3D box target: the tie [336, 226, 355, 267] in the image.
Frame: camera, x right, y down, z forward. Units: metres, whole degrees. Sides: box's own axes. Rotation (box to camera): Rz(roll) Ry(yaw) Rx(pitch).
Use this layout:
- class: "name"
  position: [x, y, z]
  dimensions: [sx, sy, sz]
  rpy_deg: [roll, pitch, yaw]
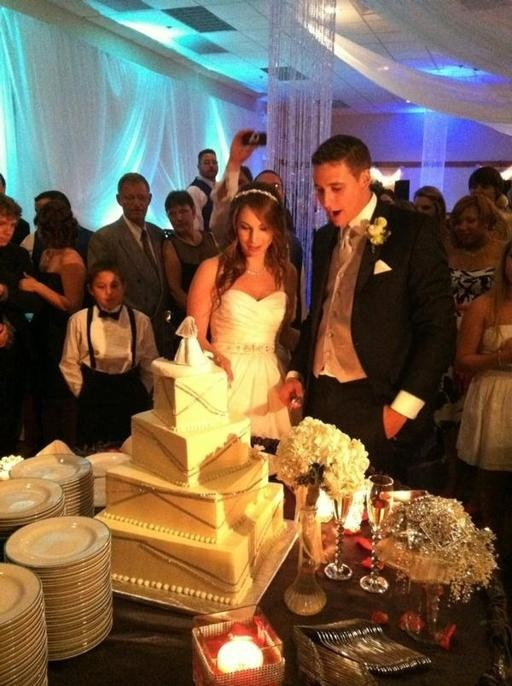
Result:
- class: "tie"
  position: [0.366, -0.422, 2.485]
  dimensions: [0.039, 0.133, 0.098]
  rpy_deg: [10, 36, 19]

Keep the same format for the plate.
- class: "plate"
  position: [-0.474, 0.511, 1.420]
  dimensions: [0.165, 0.165, 0.590]
  rpy_deg: [-1, 2, -15]

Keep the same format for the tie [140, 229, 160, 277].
- class: "tie"
  position: [-0.852, -0.738, 4.615]
  dimensions: [0.074, 0.477, 0.060]
  rpy_deg: [-3, 8, 23]
